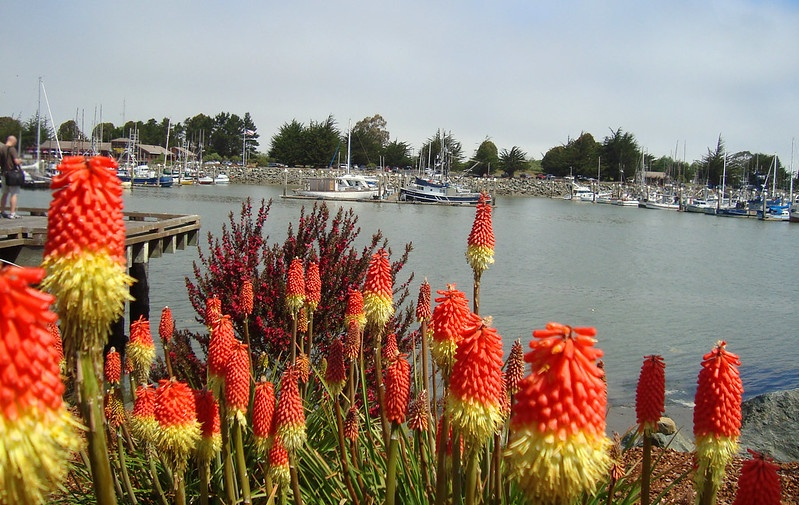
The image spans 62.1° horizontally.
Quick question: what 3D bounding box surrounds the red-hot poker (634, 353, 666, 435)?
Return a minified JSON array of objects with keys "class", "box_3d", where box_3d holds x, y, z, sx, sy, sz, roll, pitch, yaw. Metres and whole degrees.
[{"class":"red-hot poker","box_3d":[1.739,0.961,4.595,0.178,0.600,0.175,0,-4,2]}]
